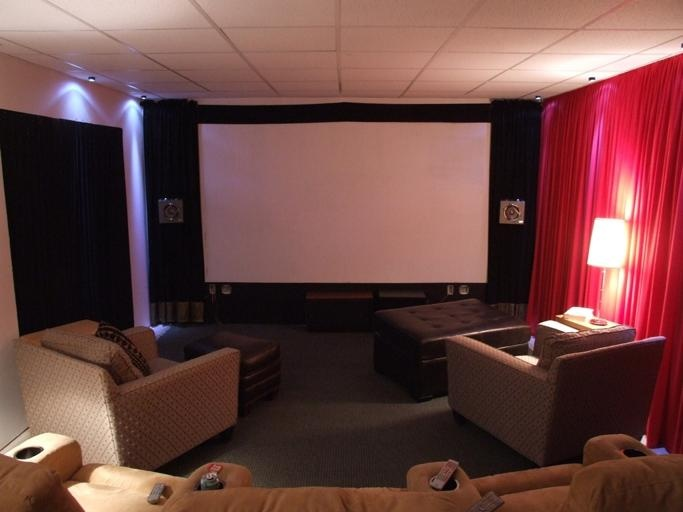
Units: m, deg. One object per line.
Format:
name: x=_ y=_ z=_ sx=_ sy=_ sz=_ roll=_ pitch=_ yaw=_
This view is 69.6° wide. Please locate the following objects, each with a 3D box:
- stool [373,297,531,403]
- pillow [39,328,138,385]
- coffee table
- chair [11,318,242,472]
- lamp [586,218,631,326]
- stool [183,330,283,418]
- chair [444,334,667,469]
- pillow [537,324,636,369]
stool: x=0.864 y=0.822 z=4.893 sx=1.167 sy=0.655 sz=0.872 roll=-7 pitch=15 yaw=-24
pillow: x=-1.831 y=0.702 z=3.624 sx=0.436 sy=0.202 sz=0.445 roll=25 pitch=-4 yaw=-22
coffee table: x=2.028 y=0.673 z=4.177 sx=0.387 sy=0.277 sz=0.281 roll=-6 pitch=10 yaw=-28
chair: x=-1.618 y=0.792 z=3.909 sx=1.193 sy=1.198 sz=1.228 roll=5 pitch=11 yaw=29
lamp: x=2.632 y=0.163 z=4.873 sx=0.337 sy=1.051 sz=0.887 roll=2 pitch=7 yaw=31
stool: x=-0.995 y=1.069 z=4.628 sx=0.700 sy=0.654 sz=0.698 roll=8 pitch=16 yaw=31
chair: x=1.771 y=1.096 z=4.212 sx=1.347 sy=0.998 sz=1.481 roll=-1 pitch=5 yaw=-11
pillow: x=1.858 y=0.700 z=3.753 sx=0.827 sy=0.262 sz=0.270 roll=-5 pitch=6 yaw=-25
